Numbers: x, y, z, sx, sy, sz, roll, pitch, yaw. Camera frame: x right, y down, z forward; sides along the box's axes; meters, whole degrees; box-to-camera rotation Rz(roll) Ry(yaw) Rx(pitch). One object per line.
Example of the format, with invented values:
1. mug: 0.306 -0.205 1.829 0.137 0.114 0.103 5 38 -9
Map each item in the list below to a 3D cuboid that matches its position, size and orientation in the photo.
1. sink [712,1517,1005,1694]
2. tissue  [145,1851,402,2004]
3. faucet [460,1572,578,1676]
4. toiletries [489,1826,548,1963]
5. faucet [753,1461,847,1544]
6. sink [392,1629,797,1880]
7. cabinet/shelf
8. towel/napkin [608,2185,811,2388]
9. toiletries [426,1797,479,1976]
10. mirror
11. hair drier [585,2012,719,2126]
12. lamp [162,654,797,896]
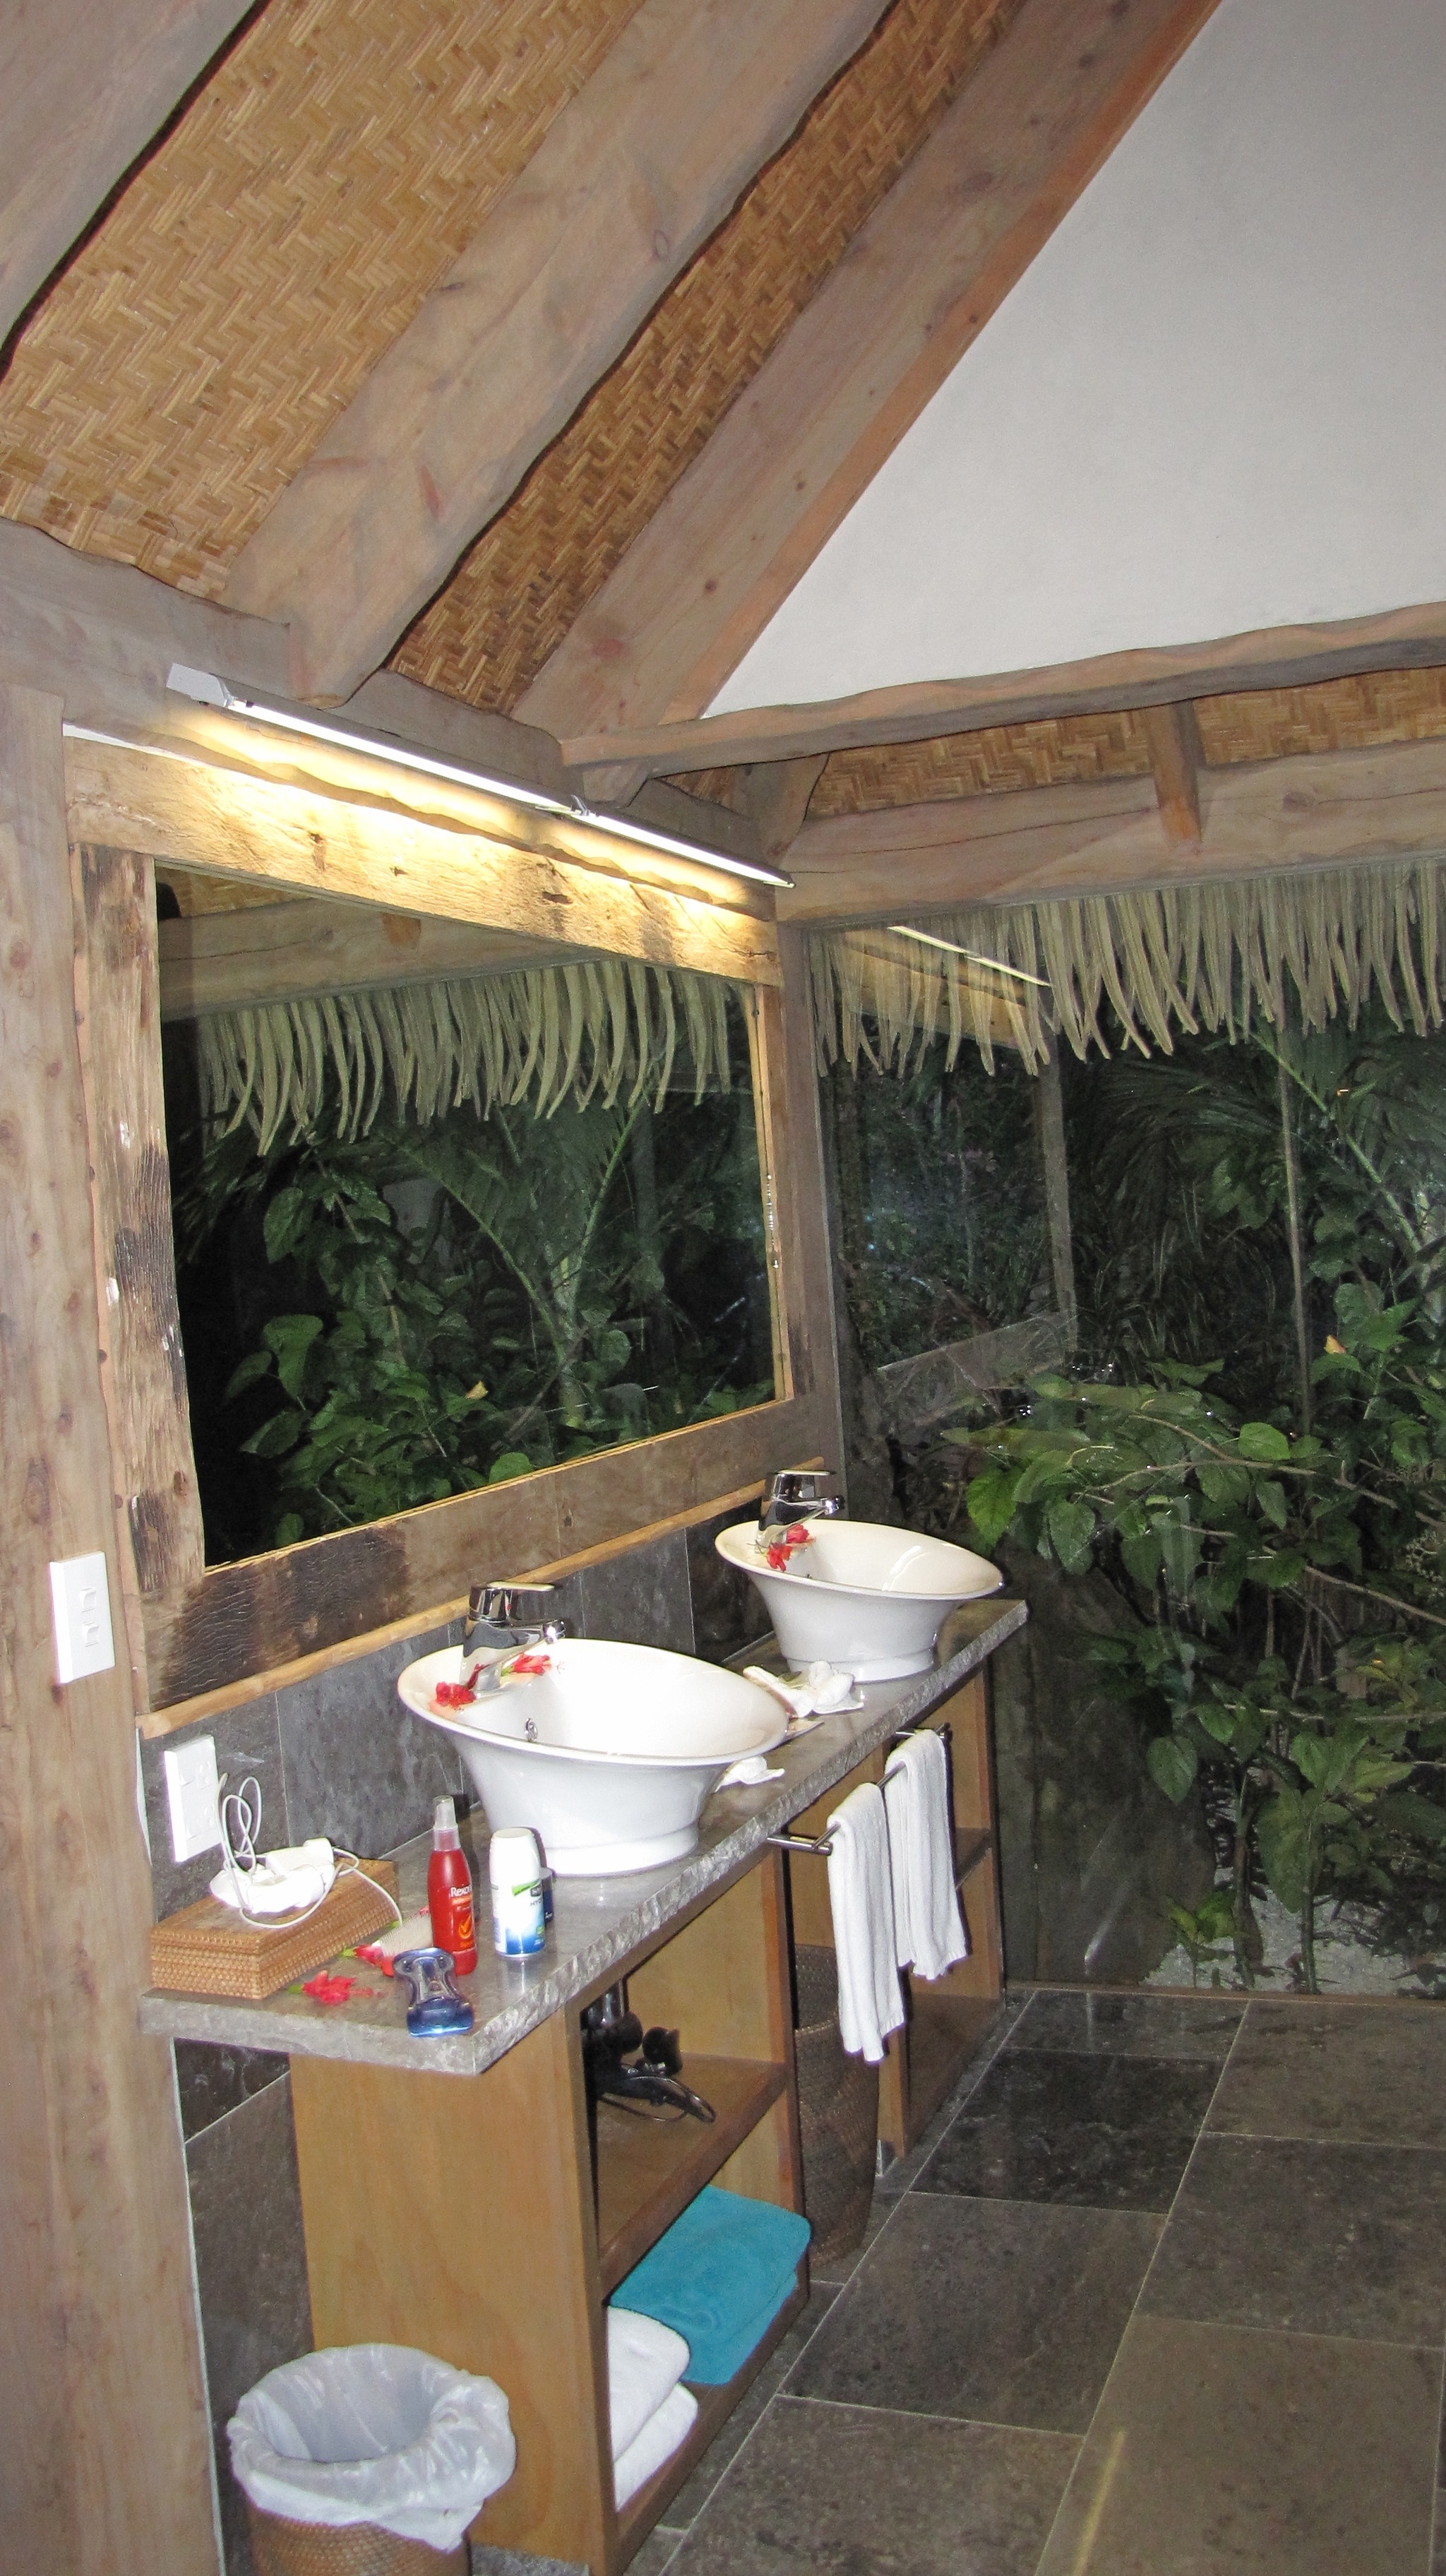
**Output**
1. sink: 0.221 0.511 2.781 0.271 0.128 0.309 -1 2 15
2. tissue : -0.435 0.644 1.727 0.142 0.057 0.265 -5 -4 24
3. faucet: -0.256 0.417 2.123 0.070 0.119 0.118 -7 -13 31
4. toiletries: -0.199 0.587 1.692 0.058 0.116 0.127 -3 -4 -7
5. faucet: 0.135 0.375 3.046 0.144 0.148 0.096 2 0 30
6. sink: -0.159 0.541 1.982 0.270 0.128 0.309 1 9 8
7. cabinet/shelf: -0.164 0.909 1.925 0.253 0.474 1.027 -2 4 25
8. towel/napkin: -0.003 1.197 2.072 0.134 0.056 0.177 -3 1 14
9. toiletries: -0.261 0.576 1.670 0.043 0.149 0.116 -2 -4 -10
10. mirror: -0.361 -0.073 2.486 0.062 0.749 1.573 -5 4 34
11. hair drier: -0.105 0.962 2.106 0.228 0.101 0.075 -7 -11 43
12. lamp: -0.339 -0.701 2.336 0.977 0.065 0.039 13 -39 -45
